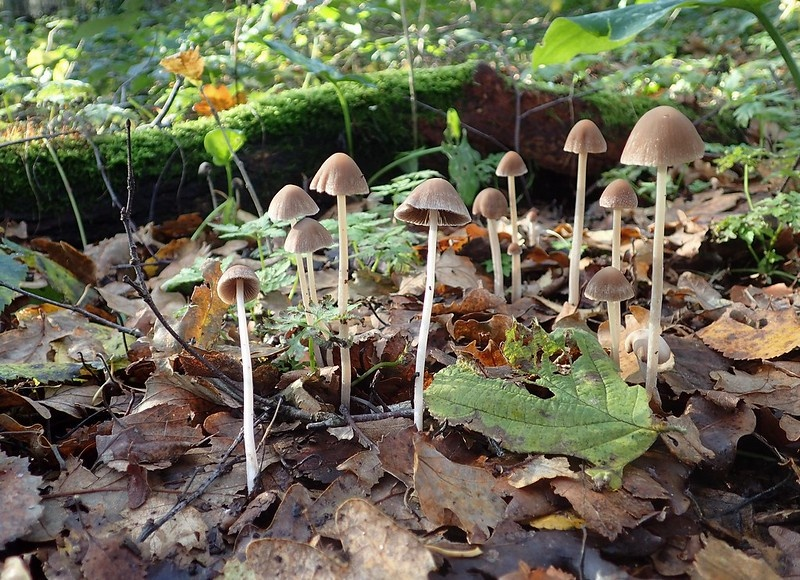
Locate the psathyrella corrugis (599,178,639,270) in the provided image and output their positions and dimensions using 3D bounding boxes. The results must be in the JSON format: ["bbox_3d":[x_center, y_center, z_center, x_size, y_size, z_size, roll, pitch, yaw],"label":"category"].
[{"bbox_3d":[1.642,-0.477,5.393,0.258,0.746,0.286,3,21,14],"label":"psathyrella corrugis"}]

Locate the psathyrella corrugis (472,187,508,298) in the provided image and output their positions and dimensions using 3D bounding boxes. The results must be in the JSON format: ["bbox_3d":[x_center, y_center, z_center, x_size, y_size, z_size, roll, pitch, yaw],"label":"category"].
[{"bbox_3d":[0.830,-0.434,5.955,0.255,0.942,0.315,6,34,31],"label":"psathyrella corrugis"}]
